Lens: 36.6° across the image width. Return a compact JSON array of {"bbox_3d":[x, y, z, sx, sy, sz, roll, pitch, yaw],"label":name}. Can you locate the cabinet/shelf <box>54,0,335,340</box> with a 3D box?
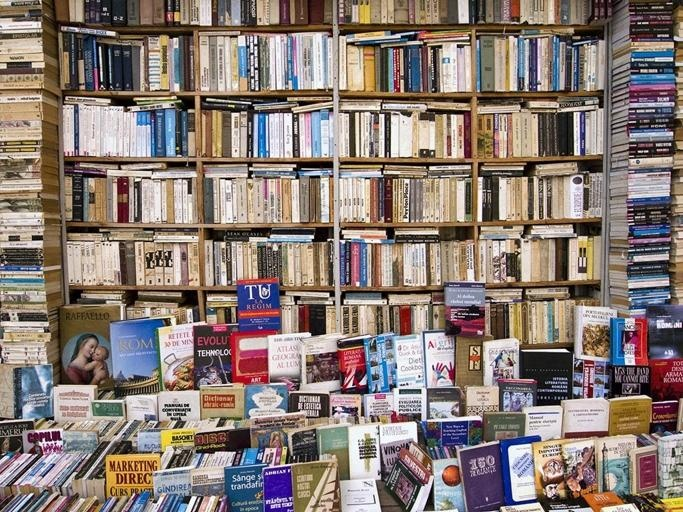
[{"bbox_3d":[-1.108,-0.713,7.565,2.227,2.317,0.712,0,6,3],"label":"cabinet/shelf"}]

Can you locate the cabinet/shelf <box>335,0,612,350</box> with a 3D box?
[{"bbox_3d":[0.914,-0.671,7.596,2.285,2.395,0.733,-1,5,-1],"label":"cabinet/shelf"}]
